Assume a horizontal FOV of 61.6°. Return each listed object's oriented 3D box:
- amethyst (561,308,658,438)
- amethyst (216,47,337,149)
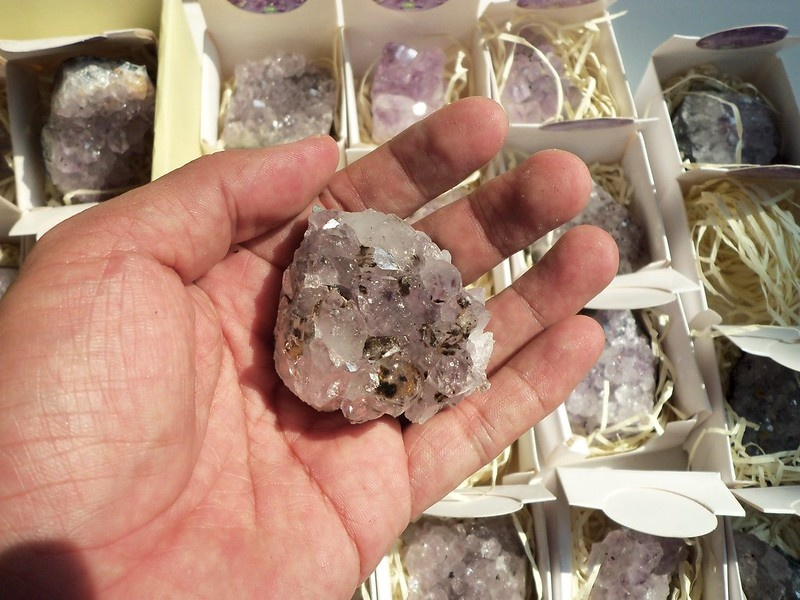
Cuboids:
[{"bbox_3d":[0.684,0.216,2.121,0.270,0.110,0.402,0,84,-7],"label":"amethyst"},{"bbox_3d":[-0.440,-0.658,2.430,0.452,0.517,0.129,-5,75,17],"label":"amethyst"}]
